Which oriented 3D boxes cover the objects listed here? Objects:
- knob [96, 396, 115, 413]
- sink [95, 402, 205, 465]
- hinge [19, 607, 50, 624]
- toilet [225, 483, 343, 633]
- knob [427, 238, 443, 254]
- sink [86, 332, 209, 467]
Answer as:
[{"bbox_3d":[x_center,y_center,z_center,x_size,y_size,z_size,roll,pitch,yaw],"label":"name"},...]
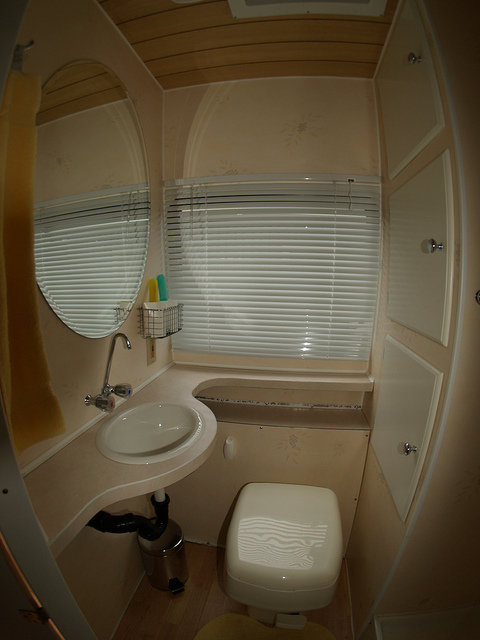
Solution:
[{"bbox_3d":[-0.407,0.250,1.246,0.050,0.037,0.040,-2,9,-30],"label":"knob"},{"bbox_3d":[-0.278,0.399,1.306,0.325,0.163,0.376,2,8,-6],"label":"sink"},{"bbox_3d":[-0.228,0.326,0.461,0.020,0.022,0.005,-4,29,-2],"label":"hinge"},{"bbox_3d":[0.148,0.777,1.465,0.323,0.359,0.479,3,17,10],"label":"toilet"},{"bbox_3d":[0.431,-0.162,0.916,0.023,0.021,0.019,-7,20,-5],"label":"knob"},{"bbox_3d":[-0.313,0.248,1.347,0.341,0.385,0.455,5,9,17],"label":"sink"}]
